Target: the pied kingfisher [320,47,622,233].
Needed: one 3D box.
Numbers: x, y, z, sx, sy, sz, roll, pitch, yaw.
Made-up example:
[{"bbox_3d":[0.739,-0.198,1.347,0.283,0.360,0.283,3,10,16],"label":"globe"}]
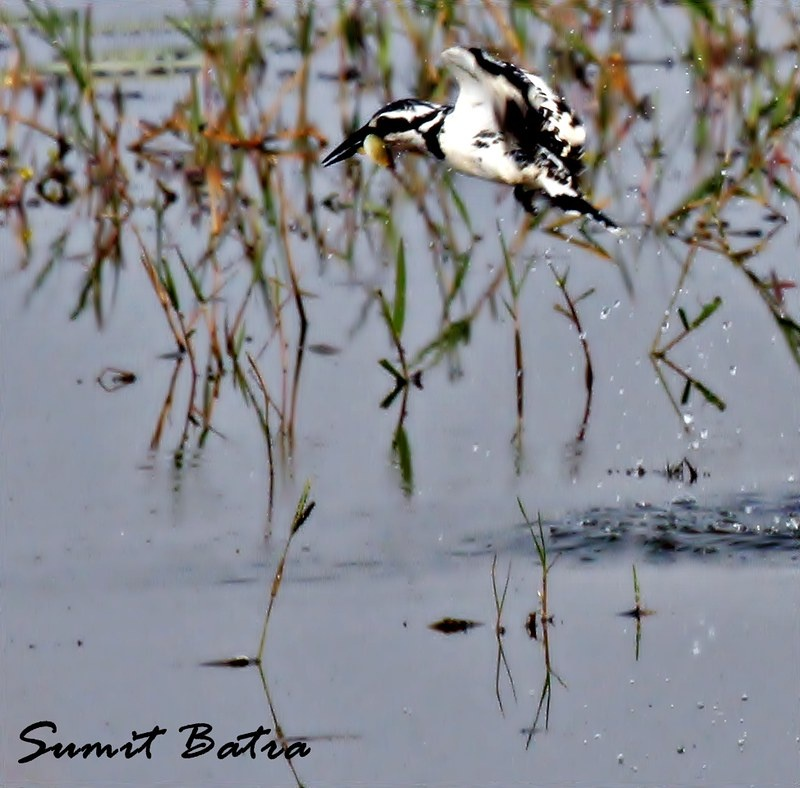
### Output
[{"bbox_3d":[0.080,-0.354,1.830,0.257,0.171,0.186,10,45,16],"label":"pied kingfisher"}]
